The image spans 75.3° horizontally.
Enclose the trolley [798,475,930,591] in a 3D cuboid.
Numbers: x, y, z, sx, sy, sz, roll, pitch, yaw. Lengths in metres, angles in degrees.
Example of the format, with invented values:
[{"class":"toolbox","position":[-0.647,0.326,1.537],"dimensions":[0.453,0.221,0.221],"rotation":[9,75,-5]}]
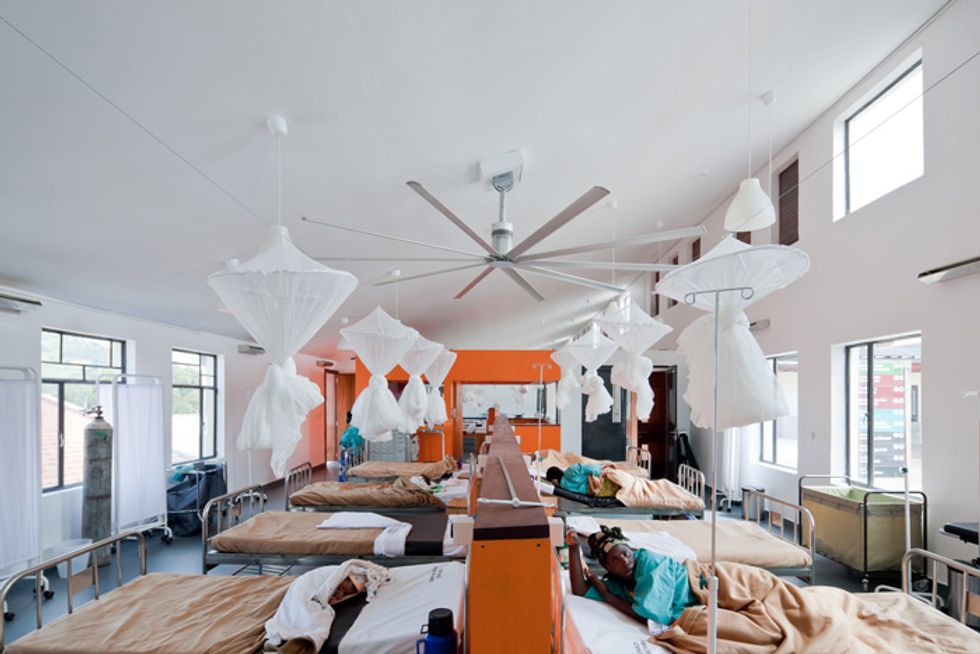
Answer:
[{"class":"trolley","position":[4.722,2.594,8.159],"dimensions":[0.821,1.107,1.615],"rotation":[1,-8,1]}]

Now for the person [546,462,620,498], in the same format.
[{"class":"person","position":[1.258,2.167,8.933],"dimensions":[0.815,0.322,0.393],"rotation":[-4,-15,33]}]

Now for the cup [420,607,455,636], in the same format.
[{"class":"cup","position":[-0.362,2.160,4.644],"dimensions":[0.180,0.171,0.153],"rotation":[-3,-11,-2]}]

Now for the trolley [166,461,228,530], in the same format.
[{"class":"trolley","position":[-4.682,2.657,9.773],"dimensions":[0.805,1.011,0.792],"rotation":[-3,-6,5]}]

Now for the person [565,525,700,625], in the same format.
[{"class":"person","position":[1.522,2.389,6.071],"dimensions":[1.726,0.705,1.003],"rotation":[16,-23,-21]}]
